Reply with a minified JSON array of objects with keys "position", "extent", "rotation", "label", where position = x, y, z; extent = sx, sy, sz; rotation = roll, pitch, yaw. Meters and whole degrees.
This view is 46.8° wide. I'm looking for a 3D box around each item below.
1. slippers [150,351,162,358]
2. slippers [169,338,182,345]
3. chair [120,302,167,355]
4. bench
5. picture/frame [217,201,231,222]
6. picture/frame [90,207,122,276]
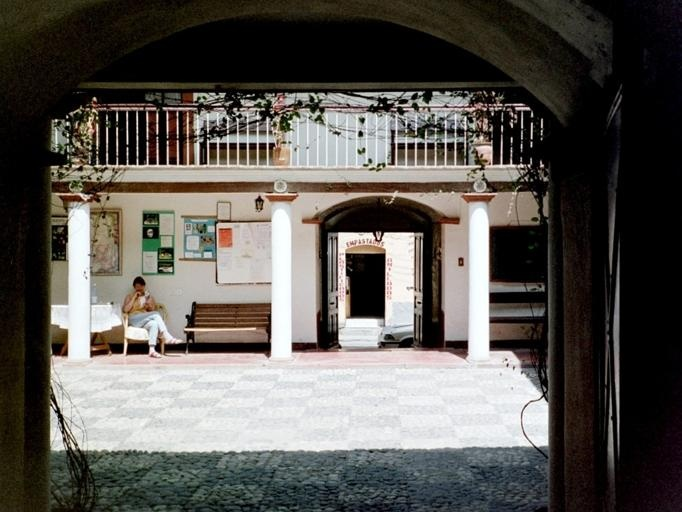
[{"position":[-2.837,1.500,12.068],"extent":[0.177,0.072,0.092],"rotation":[-7,-8,39],"label":"slippers"},{"position":[-2.628,1.318,12.257],"extent":[0.264,0.108,0.142],"rotation":[-5,-3,33],"label":"slippers"},{"position":[-3.145,1.126,12.375],"extent":[0.687,0.935,0.703],"rotation":[1,-12,-2],"label":"chair"},{"position":[-1.824,1.149,12.871],"extent":[1.351,0.776,0.821],"rotation":[-1,4,-8],"label":"bench"},{"position":[-1.934,-0.727,13.045],"extent":[0.325,0.440,0.043],"rotation":[0,-4,-6],"label":"picture/frame"},{"position":[-3.863,-0.230,12.942],"extent":[0.448,1.083,0.261],"rotation":[1,4,17],"label":"picture/frame"}]
